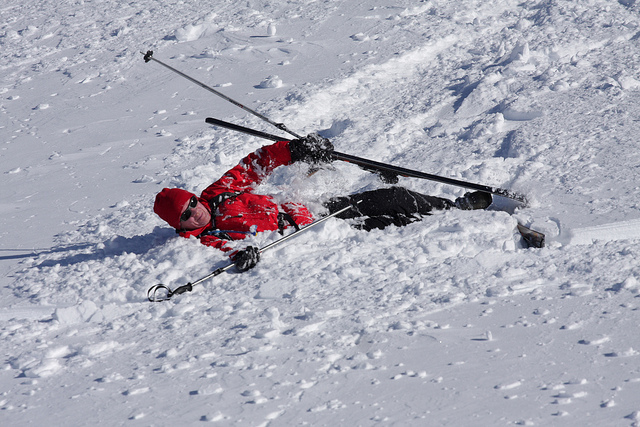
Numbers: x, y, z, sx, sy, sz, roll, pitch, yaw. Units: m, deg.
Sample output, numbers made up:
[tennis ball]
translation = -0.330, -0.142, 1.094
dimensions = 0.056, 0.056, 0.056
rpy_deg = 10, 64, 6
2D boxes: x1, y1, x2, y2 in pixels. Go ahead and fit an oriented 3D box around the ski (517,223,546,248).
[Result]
[ski]
translation = 3.299, 0.362, 15.807
dimensions = 0.149, 0.257, 0.318
rpy_deg = 13, 40, -9
